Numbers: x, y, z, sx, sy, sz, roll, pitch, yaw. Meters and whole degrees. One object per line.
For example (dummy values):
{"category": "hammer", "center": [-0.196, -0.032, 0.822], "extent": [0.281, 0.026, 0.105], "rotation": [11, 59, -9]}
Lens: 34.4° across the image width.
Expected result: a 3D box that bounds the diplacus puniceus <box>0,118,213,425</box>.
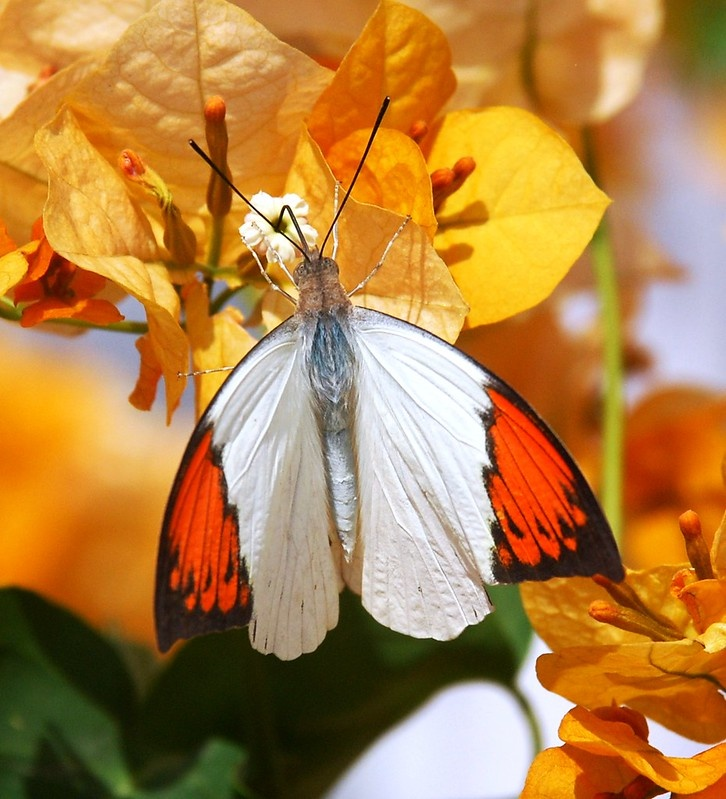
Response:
{"category": "diplacus puniceus", "center": [-0.142, -0.079, 0.676], "extent": [0.078, 0.172, 0.087], "rotation": [-4, 15, -8]}
